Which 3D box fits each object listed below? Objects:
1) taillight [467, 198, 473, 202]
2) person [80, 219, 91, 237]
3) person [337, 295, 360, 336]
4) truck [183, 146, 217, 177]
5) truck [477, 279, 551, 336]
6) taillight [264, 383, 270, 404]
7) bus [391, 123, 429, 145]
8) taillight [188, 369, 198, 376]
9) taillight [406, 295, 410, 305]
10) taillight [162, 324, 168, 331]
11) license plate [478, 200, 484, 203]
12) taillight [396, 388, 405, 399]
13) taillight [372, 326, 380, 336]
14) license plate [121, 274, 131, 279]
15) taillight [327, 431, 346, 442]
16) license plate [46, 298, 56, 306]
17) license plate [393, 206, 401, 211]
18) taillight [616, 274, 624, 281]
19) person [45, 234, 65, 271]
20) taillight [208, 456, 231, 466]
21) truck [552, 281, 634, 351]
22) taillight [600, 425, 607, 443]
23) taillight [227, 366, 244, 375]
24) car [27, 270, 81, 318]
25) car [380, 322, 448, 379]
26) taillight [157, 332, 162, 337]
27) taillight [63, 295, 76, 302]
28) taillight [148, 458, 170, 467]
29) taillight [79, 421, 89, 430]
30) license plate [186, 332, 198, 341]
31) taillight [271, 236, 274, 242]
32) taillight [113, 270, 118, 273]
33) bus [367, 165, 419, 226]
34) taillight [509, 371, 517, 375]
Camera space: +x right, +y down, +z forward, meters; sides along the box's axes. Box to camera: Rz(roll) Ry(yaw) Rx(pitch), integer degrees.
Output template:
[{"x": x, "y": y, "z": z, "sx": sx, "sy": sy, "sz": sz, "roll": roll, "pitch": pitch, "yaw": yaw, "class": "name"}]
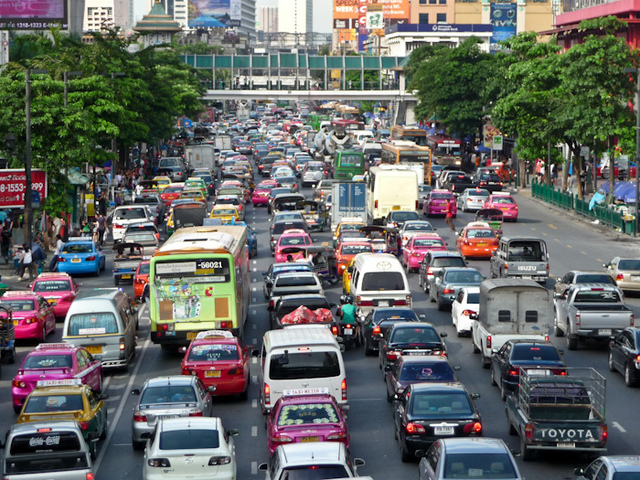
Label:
[{"x": 10.301, "y": -2.734, "z": 67.901, "sx": 0.352, "sy": 0.259, "sz": 0.075, "roll": 3, "pitch": 12, "yaw": 18, "class": "taillight"}, {"x": -14.611, "y": -0.693, "z": 60.866, "sx": 0.571, "sy": 0.613, "sz": 1.802, "roll": 6, "pitch": 41, "yaw": -16, "class": "person"}, {"x": 1.017, "y": 2.735, "z": 37.030, "sx": 0.673, "sy": 0.990, "sz": 1.377, "roll": 1, "pitch": 15, "yaw": 1, "class": "person"}, {"x": -11.453, "y": -8.603, "z": 94.998, "sx": 2.935, "sy": 3.115, "sz": 5.585, "roll": -1, "pitch": 28, "yaw": -1, "class": "truck"}, {"x": 6.717, "y": 2.382, "z": 33.989, "sx": 1.276, "sy": 1.605, "sz": 2.394, "roll": 0, "pitch": 2, "yaw": -2, "class": "truck"}, {"x": -1.564, "y": 4.502, "z": 28.701, "sx": 0.143, "sy": 0.541, "sz": 0.285, "roll": -2, "pitch": 12, "yaw": -4, "class": "taillight"}, {"x": 9.237, "y": -11.155, "z": 105.266, "sx": 2.183, "sy": 2.895, "sz": 8.400, "roll": -1, "pitch": 7, "yaw": -8, "class": "bus"}, {"x": -3.967, "y": 4.163, "z": 30.556, "sx": 0.284, "sy": 0.198, "sz": 0.243, "roll": -5, "pitch": 14, "yaw": -13, "class": "taillight"}, {"x": 3.372, "y": 2.323, "z": 37.949, "sx": 0.079, "sy": 0.400, "sz": 0.196, "roll": 9, "pitch": 16, "yaw": 39, "class": "taillight"}, {"x": -5.542, "y": 3.136, "z": 34.997, "sx": 0.181, "sy": 0.214, "sz": 0.060, "roll": -1, "pitch": 12, "yaw": 1, "class": "taillight"}, {"x": 11.027, "y": -2.628, "z": 67.711, "sx": 0.410, "sy": 0.176, "sz": 0.235, "roll": 6, "pitch": 15, "yaw": 26, "class": "license plate"}, {"x": 2.307, "y": 4.446, "z": 28.331, "sx": 0.180, "sy": 0.166, "sz": 0.320, "roll": 2, "pitch": 13, "yaw": 7, "class": "taillight"}, {"x": 1.987, "y": 3.296, "z": 35.352, "sx": 0.139, "sy": 0.434, "sz": 0.346, "roll": -9, "pitch": 15, "yaw": -32, "class": "taillight"}, {"x": -9.561, "y": 1.827, "z": 48.416, "sx": 0.402, "sy": 0.254, "sz": 0.056, "roll": -5, "pitch": 12, "yaw": -15, "class": "license plate"}, {"x": 0.411, "y": 5.095, "z": 25.392, "sx": 0.366, "sy": 0.139, "sz": 0.236, "roll": -3, "pitch": 15, "yaw": 1, "class": "taillight"}, {"x": -11.367, "y": 2.654, "z": 41.573, "sx": 0.302, "sy": 0.176, "sz": 0.219, "roll": 2, "pitch": 6, "yaw": 2, "class": "license plate"}, {"x": 4.643, "y": -1.915, "z": 59.747, "sx": 0.262, "sy": 0.316, "sz": 0.201, "roll": -1, "pitch": 6, "yaw": -2, "class": "license plate"}, {"x": 13.239, "y": 1.682, "z": 43.451, "sx": 0.293, "sy": 0.285, "sz": 0.051, "roll": 2, "pitch": 12, "yaw": 15, "class": "taillight"}, {"x": -14.436, "y": 0.748, "z": 53.382, "sx": 0.541, "sy": 0.610, "sz": 1.916, "roll": 15, "pitch": 50, "yaw": 8, "class": "person"}, {"x": -2.525, "y": 5.500, "z": 24.418, "sx": 0.557, "sy": 0.263, "sz": 0.071, "roll": -6, "pitch": 12, "yaw": -16, "class": "taillight"}, {"x": 9.810, "y": 2.656, "z": 36.475, "sx": 1.520, "sy": 1.564, "sz": 3.128, "roll": -2, "pitch": 12, "yaw": -3, "class": "truck"}, {"x": 7.440, "y": 5.145, "z": 25.904, "sx": 0.197, "sy": 0.478, "sz": 0.062, "roll": -6, "pitch": 13, "yaw": -23, "class": "taillight"}, {"x": -2.682, "y": 4.148, "z": 30.946, "sx": 0.349, "sy": 0.201, "sz": 0.241, "roll": -1, "pitch": 8, "yaw": 2, "class": "taillight"}, {"x": -11.435, "y": 2.574, "z": 43.227, "sx": 1.789, "sy": 1.797, "sz": 4.207, "roll": 0, "pitch": 10, "yaw": -4, "class": "car"}, {"x": 3.029, "y": 3.879, "z": 32.769, "sx": 2.235, "sy": 1.942, "sz": 1.901, "roll": 1, "pitch": 13, "yaw": 10, "class": "car"}, {"x": -5.730, "y": 3.390, "z": 34.991, "sx": 0.158, "sy": 0.154, "sz": 0.042, "roll": -3, "pitch": 12, "yaw": -8, "class": "taillight"}, {"x": -10.708, "y": 2.495, "z": 41.808, "sx": 0.362, "sy": 0.131, "sz": 0.275, "roll": -3, "pitch": 7, "yaw": 0, "class": "taillight"}, {"x": -3.988, "y": 5.503, "z": 24.240, "sx": 0.332, "sy": 0.112, "sz": 0.239, "roll": 2, "pitch": 18, "yaw": -1, "class": "taillight"}, {"x": -6.496, "y": 5.117, "z": 27.036, "sx": 0.111, "sy": 0.267, "sz": 0.261, "roll": 5, "pitch": 15, "yaw": 27, "class": "taillight"}, {"x": -4.489, "y": 3.367, "z": 34.373, "sx": 0.318, "sy": 0.281, "sz": 0.051, "roll": -1, "pitch": 9, "yaw": 4, "class": "license plate"}, {"x": -2.648, "y": -0.047, "z": 53.823, "sx": 0.127, "sy": 0.298, "sz": 0.142, "roll": -1, "pitch": -1, "yaw": 18, "class": "taillight"}, {"x": -10.103, "y": 1.568, "z": 48.351, "sx": 0.218, "sy": 0.149, "sz": 0.115, "roll": 3, "pitch": 13, "yaw": 18, "class": "taillight"}, {"x": 4.274, "y": -2.956, "z": 62.787, "sx": 2.853, "sy": 3.874, "sz": 6.128, "roll": 0, "pitch": 9, "yaw": -10, "class": "bus"}, {"x": 5.881, "y": 4.080, "z": 30.114, "sx": 0.193, "sy": 0.099, "sz": 0.050, "roll": 7, "pitch": 14, "yaw": 29, "class": "taillight"}]
